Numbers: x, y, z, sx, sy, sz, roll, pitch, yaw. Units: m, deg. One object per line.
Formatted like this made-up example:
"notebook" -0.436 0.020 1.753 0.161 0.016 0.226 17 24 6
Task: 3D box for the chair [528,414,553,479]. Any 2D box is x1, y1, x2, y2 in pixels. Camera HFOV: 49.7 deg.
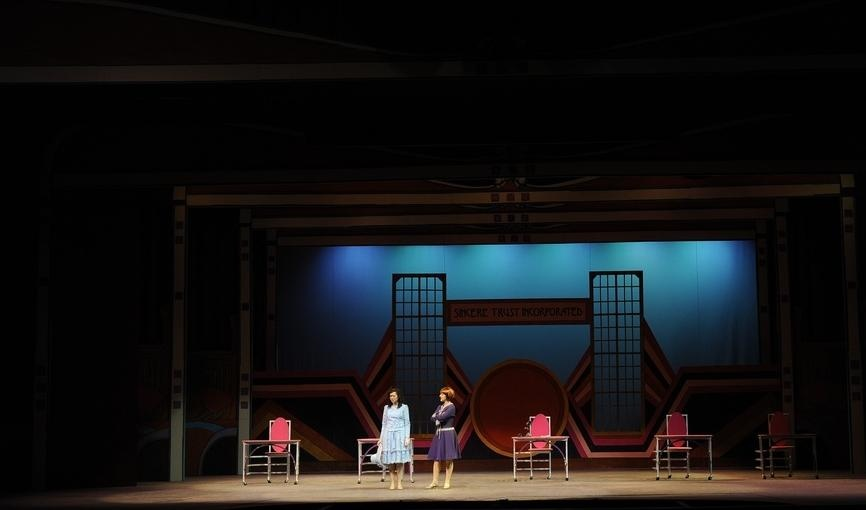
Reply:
"chair" 1.944 3.475 17.030 0.517 1.111 0.593 2 -15 -1

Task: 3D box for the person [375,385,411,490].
"person" -0.690 3.223 16.381 0.578 1.647 1.369 -1 -12 -3

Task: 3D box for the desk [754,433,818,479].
"desk" 6.538 3.632 17.276 1.256 0.958 1.002 0 -22 3

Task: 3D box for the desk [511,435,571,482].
"desk" 2.060 3.558 17.603 0.744 1.170 0.760 -6 -7 29

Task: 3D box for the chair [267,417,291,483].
"chair" -2.795 3.523 16.910 0.518 1.142 0.530 4 -15 -20

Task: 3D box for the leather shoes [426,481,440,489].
"leather shoes" -0.008 3.895 15.904 0.205 0.107 0.399 -1 -12 -1

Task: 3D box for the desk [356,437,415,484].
"desk" -0.897 3.801 17.423 1.187 0.698 0.995 -5 -15 11
